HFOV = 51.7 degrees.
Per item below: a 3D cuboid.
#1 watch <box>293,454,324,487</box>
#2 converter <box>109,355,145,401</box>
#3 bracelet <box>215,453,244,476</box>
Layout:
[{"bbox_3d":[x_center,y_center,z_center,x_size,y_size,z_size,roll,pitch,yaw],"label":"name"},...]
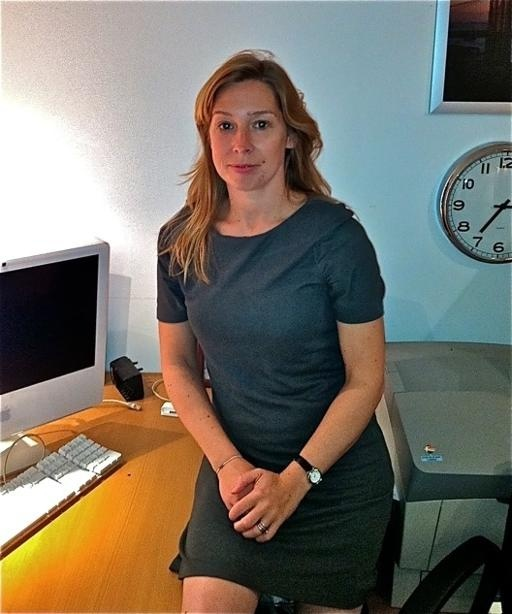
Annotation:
[{"bbox_3d":[0.096,0.305,0.988,0.032,0.051,0.048,-41,35,-7],"label":"watch"},{"bbox_3d":[-0.382,0.211,1.597,0.089,0.070,0.118,-4,28,-18],"label":"converter"},{"bbox_3d":[-0.052,0.311,1.053,0.040,0.011,0.043,-35,-5,25],"label":"bracelet"}]
